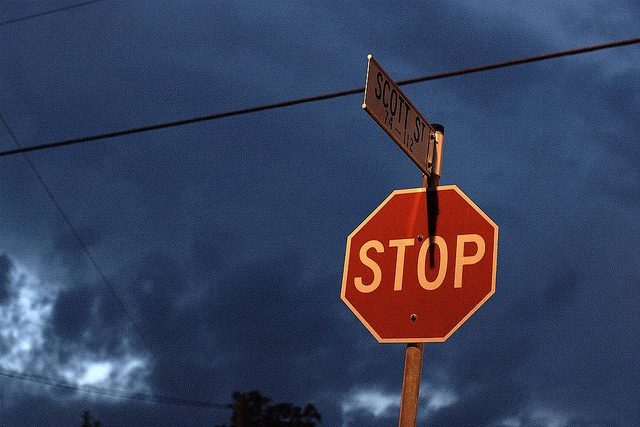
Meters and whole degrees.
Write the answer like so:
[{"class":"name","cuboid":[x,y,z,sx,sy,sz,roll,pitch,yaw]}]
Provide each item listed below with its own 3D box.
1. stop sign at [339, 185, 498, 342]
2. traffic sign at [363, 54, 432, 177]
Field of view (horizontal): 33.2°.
[{"class":"stop sign","cuboid":[1.144,0.621,11.807,1.481,1.576,0.111,4,-14,12]},{"class":"traffic sign","cuboid":[0.880,-1.098,12.094,0.952,1.043,0.297,-17,7,-40]}]
